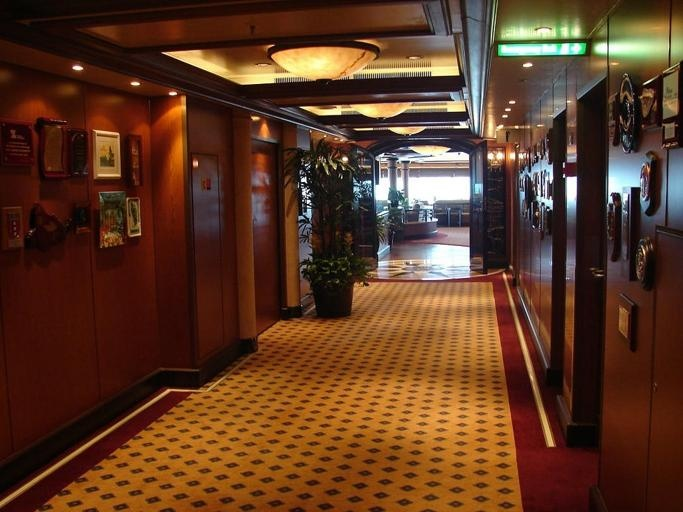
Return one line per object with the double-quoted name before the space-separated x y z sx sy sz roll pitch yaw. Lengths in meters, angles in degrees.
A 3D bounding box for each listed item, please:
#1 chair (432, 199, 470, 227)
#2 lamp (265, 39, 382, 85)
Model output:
"chair" 6.010 -2.307 27.083 1.880 1.336 2.118 0 7 10
"lamp" -0.173 -1.865 4.856 1.143 0.388 1.047 -14 17 -37
